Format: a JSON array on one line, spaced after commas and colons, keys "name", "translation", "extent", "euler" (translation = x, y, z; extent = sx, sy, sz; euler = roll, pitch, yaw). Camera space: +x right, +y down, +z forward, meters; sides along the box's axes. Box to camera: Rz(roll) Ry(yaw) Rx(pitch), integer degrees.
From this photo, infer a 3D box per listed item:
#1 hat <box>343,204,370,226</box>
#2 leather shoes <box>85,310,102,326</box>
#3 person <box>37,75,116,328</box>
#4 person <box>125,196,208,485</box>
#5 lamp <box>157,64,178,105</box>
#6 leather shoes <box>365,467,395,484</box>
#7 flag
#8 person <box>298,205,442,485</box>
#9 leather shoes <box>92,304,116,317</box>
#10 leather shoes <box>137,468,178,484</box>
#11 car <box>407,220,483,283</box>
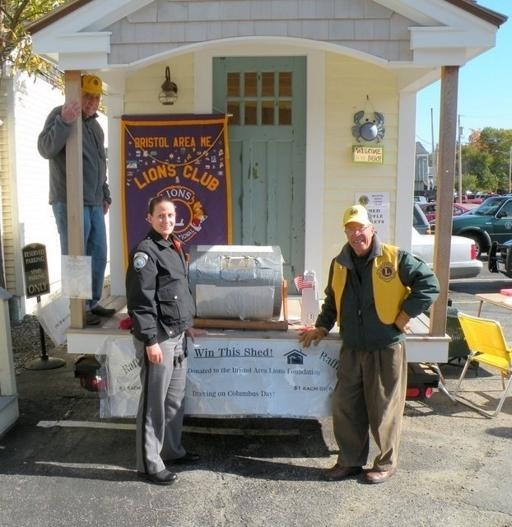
[{"name": "hat", "translation": [0.722, -0.329, 4.054], "extent": [0.250, 0.145, 0.171], "euler": [-6, 10, -40]}, {"name": "leather shoes", "translation": [-1.441, 0.486, 5.135], "extent": [0.122, 0.100, 0.220], "euler": [0, -2, -24]}, {"name": "person", "translation": [-1.627, -0.607, 5.322], "extent": [0.597, 2.250, 1.163], "euler": [-2, 8, -15]}, {"name": "person", "translation": [-0.675, 0.546, 4.092], "extent": [0.314, 2.014, 0.591], "euler": [3, 8, 23]}, {"name": "lamp", "translation": [-0.953, -1.945, 6.305], "extent": [0.202, 0.413, 0.174], "euler": [0, 7, -3]}, {"name": "leather shoes", "translation": [0.882, 1.505, 4.119], "extent": [0.217, 0.093, 0.081], "euler": [1, -11, -28]}, {"name": "flag", "translation": [-0.903, -0.748, 6.539], "extent": [1.219, 1.806, 0.071], "euler": [-2, 28, -8]}, {"name": "person", "translation": [0.830, 0.570, 4.175], "extent": [0.897, 1.957, 0.518], "euler": [3, 8, 20]}, {"name": "leather shoes", "translation": [-1.410, 0.442, 5.414], "extent": [0.214, 0.097, 0.082], "euler": [1, 9, -18]}, {"name": "leather shoes", "translation": [-0.702, 1.504, 4.125], "extent": [0.282, 0.139, 0.110], "euler": [0, 3, 4]}, {"name": "car", "translation": [3.353, -0.128, 9.805], "extent": [1.707, 0.918, 0.980], "euler": [-4, 9, -5]}]
